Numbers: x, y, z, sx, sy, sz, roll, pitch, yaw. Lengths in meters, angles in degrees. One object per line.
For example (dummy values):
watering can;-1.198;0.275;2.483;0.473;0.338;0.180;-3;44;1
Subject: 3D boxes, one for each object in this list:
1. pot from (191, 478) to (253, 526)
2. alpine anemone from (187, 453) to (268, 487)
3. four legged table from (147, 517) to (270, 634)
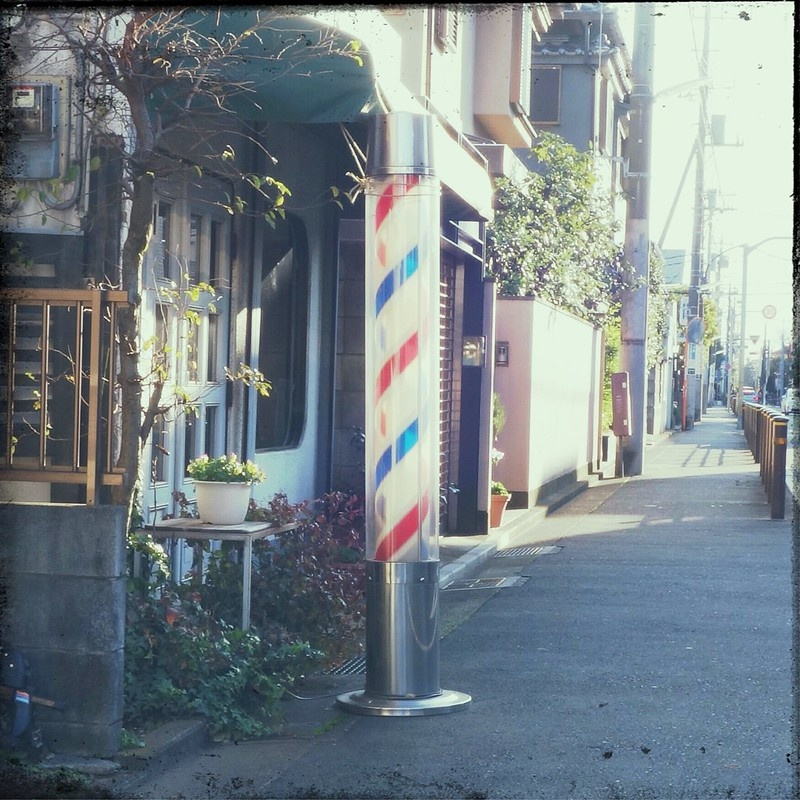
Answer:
pot;-1.054;0.610;9.841;0.262;0.209;0.278;3;0;0
alpine anemone;-1.052;0.423;10.021;0.247;0.148;0.304;6;-5;-2
four legged table;-1.131;1.010;9.850;0.677;0.710;0.591;-1;-9;9
